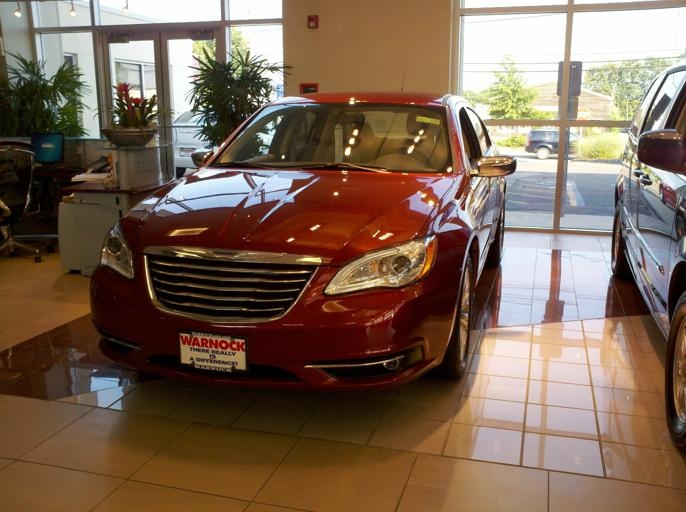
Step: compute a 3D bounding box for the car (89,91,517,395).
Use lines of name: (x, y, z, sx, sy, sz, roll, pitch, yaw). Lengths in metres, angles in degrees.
car: (0.164, -0.335, 3.170, 1.595, 0.854, 2.862, 3, 10, 17)
